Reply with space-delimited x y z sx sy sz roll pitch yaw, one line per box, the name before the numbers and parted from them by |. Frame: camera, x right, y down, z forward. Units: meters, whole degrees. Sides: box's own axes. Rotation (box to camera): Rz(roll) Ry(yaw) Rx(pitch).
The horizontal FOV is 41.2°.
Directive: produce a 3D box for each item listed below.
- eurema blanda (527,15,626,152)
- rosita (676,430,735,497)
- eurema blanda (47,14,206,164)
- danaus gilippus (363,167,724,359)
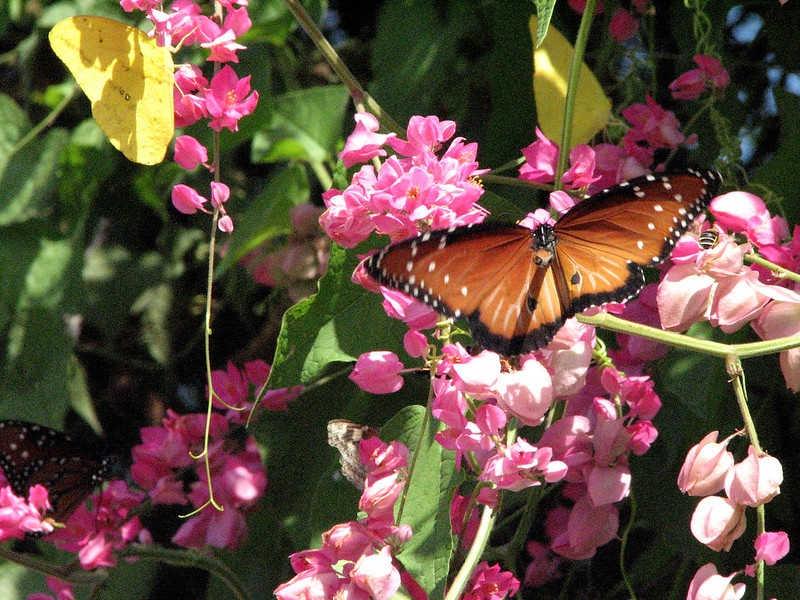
eurema blanda | 0.165 -0.217 1.072 0.128 0.083 0.039 39 3 17
rosita | 0.264 0.142 0.918 0.042 0.055 0.034 -16 31 -26
eurema blanda | -0.240 -0.195 0.942 0.100 0.140 0.092 -13 17 -24
danaus gilippus | 0.124 -0.032 0.892 0.299 0.141 0.050 -8 28 -14
